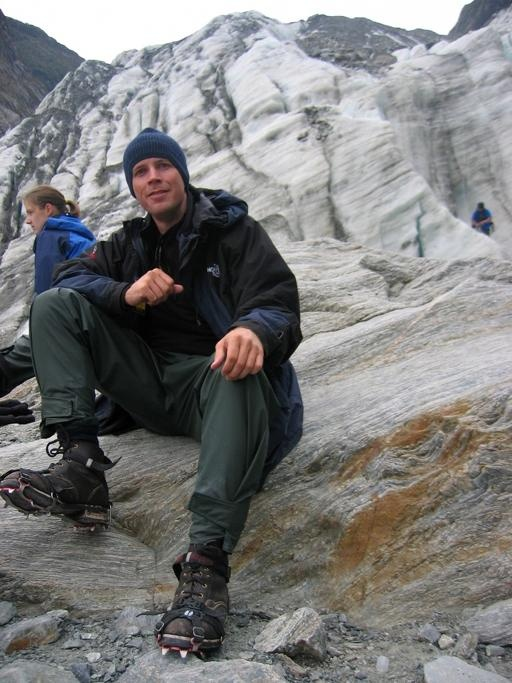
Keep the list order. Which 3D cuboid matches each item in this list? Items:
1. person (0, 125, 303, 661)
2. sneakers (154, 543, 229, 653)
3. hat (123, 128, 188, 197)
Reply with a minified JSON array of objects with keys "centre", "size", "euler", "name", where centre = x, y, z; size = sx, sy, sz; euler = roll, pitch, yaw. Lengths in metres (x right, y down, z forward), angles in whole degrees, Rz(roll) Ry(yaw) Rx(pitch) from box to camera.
[{"centre":[-0.400,-0.045,2.519],"size":[1.292,2.185,1.102],"euler":[-9,-14,37],"name":"person"},{"centre":[-0.191,0.785,1.744],"size":[0.212,0.285,0.253],"euler":[0,-11,-4],"name":"sneakers"},{"centre":[-0.505,-0.955,3.044],"size":[0.332,0.324,0.379],"euler":[-10,-16,-4],"name":"hat"}]
